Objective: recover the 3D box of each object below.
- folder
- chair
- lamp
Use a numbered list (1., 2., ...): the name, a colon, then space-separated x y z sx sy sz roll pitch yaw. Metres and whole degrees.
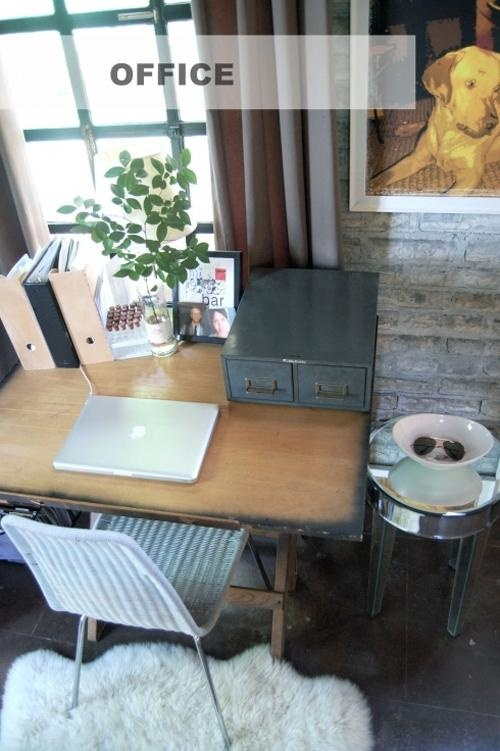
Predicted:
1. folder: -0.506 -0.217 1.404 0.256 0.341 0.111 -19 34 -15
2. chair: -0.242 0.588 1.217 0.357 0.567 0.414 7 52 8
3. lamp: -0.247 -0.341 1.283 0.200 0.390 0.210 7 53 7
